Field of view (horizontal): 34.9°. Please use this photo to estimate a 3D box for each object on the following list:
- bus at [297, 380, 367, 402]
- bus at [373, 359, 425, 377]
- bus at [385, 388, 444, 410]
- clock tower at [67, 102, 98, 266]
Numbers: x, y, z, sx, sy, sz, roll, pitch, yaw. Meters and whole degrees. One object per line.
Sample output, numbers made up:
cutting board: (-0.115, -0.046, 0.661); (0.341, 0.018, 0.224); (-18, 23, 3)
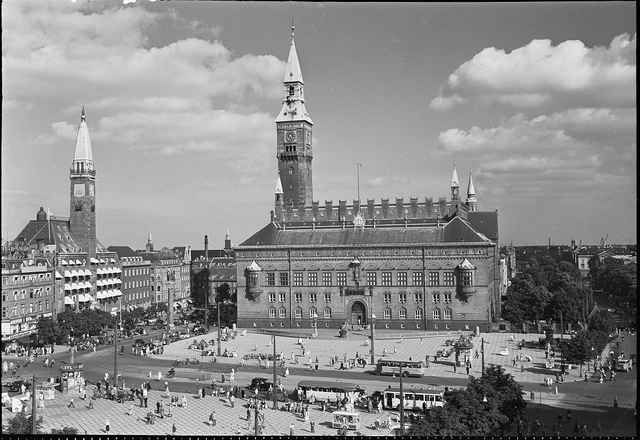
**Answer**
bus: (0.514, 22.763, 135.126); (6.449, 1.837, 3.657); (0, -1, 6)
bus: (11.154, 21.341, 144.517); (7.233, 2.395, 2.638); (2, -2, 23)
bus: (12.166, 23.605, 130.856); (8.857, 2.632, 2.829); (2, -4, 7)
clock tower: (-46.165, -5.697, 197.865); (4.699, 28.134, 2.777); (-1, -2, -21)
